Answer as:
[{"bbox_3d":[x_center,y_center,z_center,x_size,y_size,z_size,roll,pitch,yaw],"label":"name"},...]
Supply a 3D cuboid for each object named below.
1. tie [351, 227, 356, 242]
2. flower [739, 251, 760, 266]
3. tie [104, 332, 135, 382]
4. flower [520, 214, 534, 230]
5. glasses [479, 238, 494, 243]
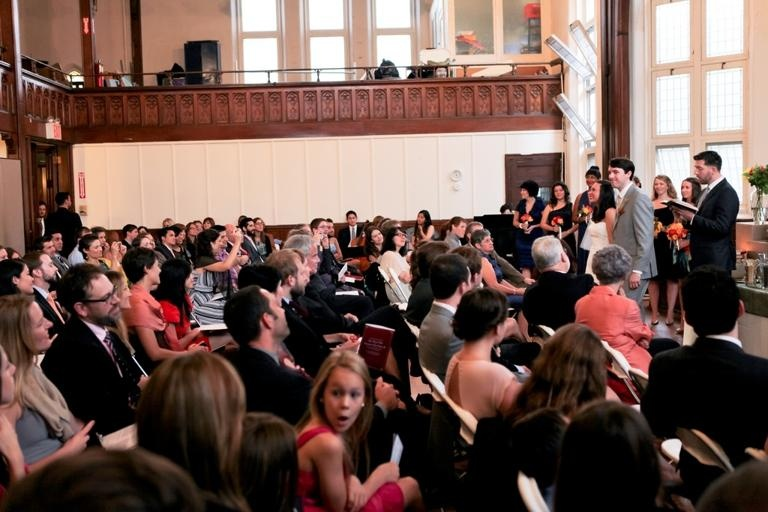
[{"bbox_3d":[-0.643,-0.478,13.378,0.176,0.287,0.066,-4,-4,8],"label":"tie"},{"bbox_3d":[3.163,0.001,5.348,0.154,0.151,0.146,-4,-7,42],"label":"flower"},{"bbox_3d":[-1.814,0.696,4.231,0.048,0.414,0.053,-1,34,13],"label":"tie"},{"bbox_3d":[2.249,-0.534,9.769,0.174,0.244,0.119,-1,-9,15],"label":"flower"},{"bbox_3d":[1.107,-0.171,6.730,0.104,0.032,0.107,-1,-8,-19],"label":"glasses"}]
